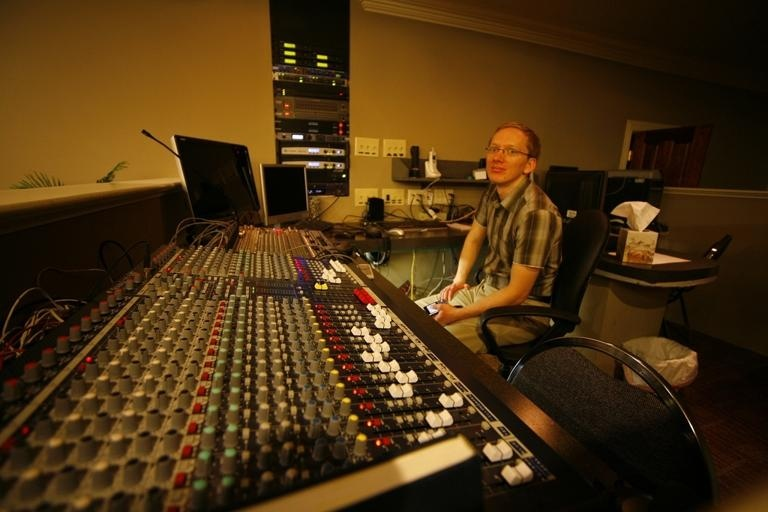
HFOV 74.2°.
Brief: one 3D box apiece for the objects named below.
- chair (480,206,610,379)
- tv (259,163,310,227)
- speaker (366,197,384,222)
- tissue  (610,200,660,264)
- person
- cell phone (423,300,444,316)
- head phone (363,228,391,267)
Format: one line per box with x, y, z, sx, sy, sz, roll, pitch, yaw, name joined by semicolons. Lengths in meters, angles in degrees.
0.752;0.129;3.508;0.905;1.458;0.935;4;9;-1;chair
-0.741;-0.472;3.871;0.060;0.442;0.587;4;11;24;tv
-0.076;-0.394;4.349;0.194;0.238;0.130;-4;16;-26;speaker
1.681;-0.166;3.387;0.276;0.378;0.343;6;20;13;tissue 
0.781;-0.134;3.347;0.881;1.557;0.816;7;13;-14;person
0.311;0.327;3.183;0.109;0.026;0.116;-15;21;7;cell phone
-0.018;-0.032;4.015;0.211;0.278;0.146;23;16;32;head phone
